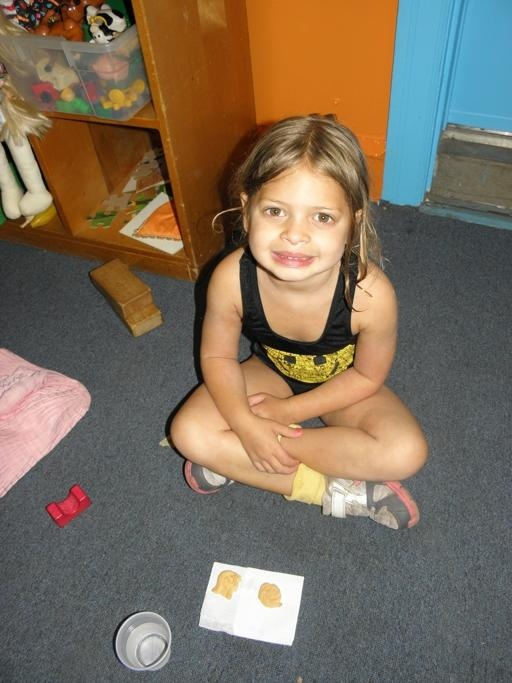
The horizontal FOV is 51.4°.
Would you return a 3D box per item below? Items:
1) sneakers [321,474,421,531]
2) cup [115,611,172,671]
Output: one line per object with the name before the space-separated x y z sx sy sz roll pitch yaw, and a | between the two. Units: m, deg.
sneakers | 0.213 0.295 1.013 0.176 0.072 0.081 9 99 10
cup | -0.177 0.492 0.907 0.100 0.073 0.094 0 74 1
